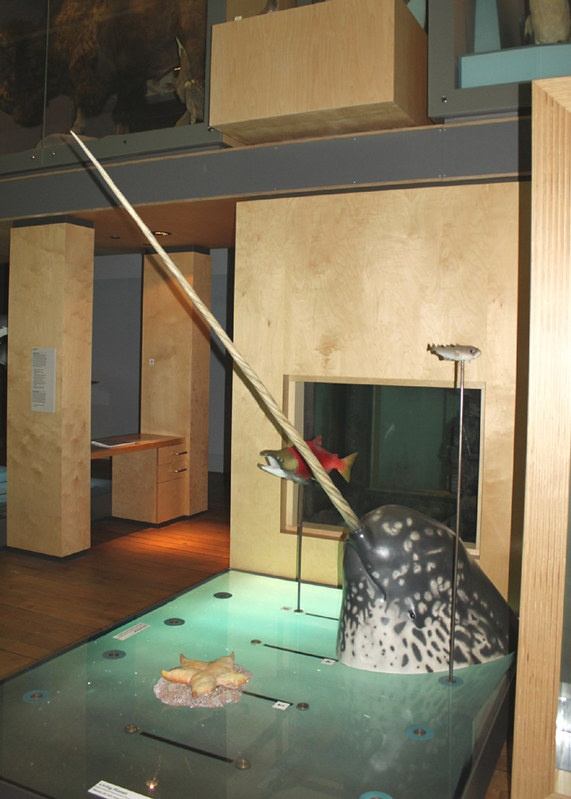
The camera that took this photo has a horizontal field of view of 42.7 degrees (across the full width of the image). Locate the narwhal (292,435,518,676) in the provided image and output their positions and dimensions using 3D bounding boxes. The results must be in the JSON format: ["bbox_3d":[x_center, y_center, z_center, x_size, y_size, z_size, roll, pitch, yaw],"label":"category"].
[{"bbox_3d":[0.419,0.519,2.066,0.560,0.419,0.299,1,4,-12],"label":"narwhal"}]

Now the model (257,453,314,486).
[{"bbox_3d":[0.000,0.196,2.073,0.071,0.085,0.214,-2,-10,38],"label":"model"}]

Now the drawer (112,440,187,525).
[{"bbox_3d":[-1.024,0.603,5.380,0.582,0.801,0.554,1,3,15],"label":"drawer"}]
